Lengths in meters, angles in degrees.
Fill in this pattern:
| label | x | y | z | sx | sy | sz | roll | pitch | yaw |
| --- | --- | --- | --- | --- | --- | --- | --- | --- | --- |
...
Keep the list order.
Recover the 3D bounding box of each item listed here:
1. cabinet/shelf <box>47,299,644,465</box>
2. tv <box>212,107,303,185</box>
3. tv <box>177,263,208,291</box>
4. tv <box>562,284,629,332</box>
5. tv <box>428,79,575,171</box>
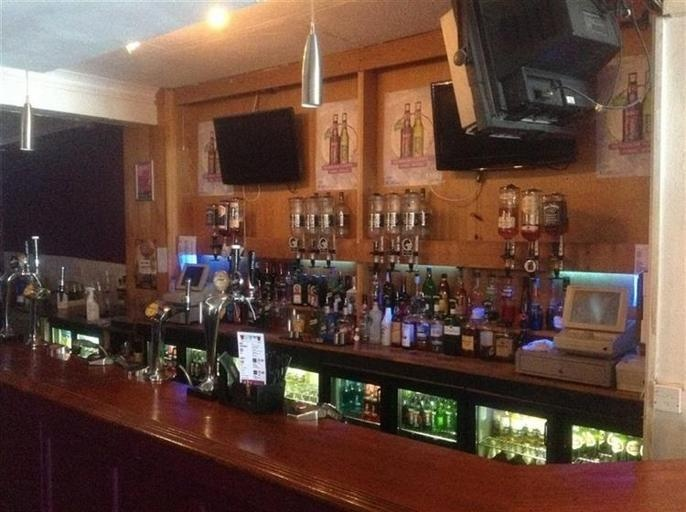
| label | x | y | z | sx | sy | sz | roll | pitch | yaw |
| --- | --- | --- | --- | --- | --- | --- | --- | --- | --- |
| cabinet/shelf | 0.095 | 1.024 | 4.806 | 4.244 | 0.742 | 0.385 | 7 | 14 | 32 |
| tv | -0.785 | -1.085 | 5.804 | 1.126 | 0.792 | 0.116 | -10 | 16 | -44 |
| tv | -1.531 | 0.224 | 5.981 | 0.235 | 0.225 | 0.063 | 9 | -11 | 40 |
| tv | 1.717 | 0.359 | 3.977 | 0.382 | 0.268 | 0.219 | 6 | 14 | 28 |
| tv | 1.162 | -1.023 | 4.718 | 1.253 | 0.650 | 0.884 | 0 | 7 | -10 |
